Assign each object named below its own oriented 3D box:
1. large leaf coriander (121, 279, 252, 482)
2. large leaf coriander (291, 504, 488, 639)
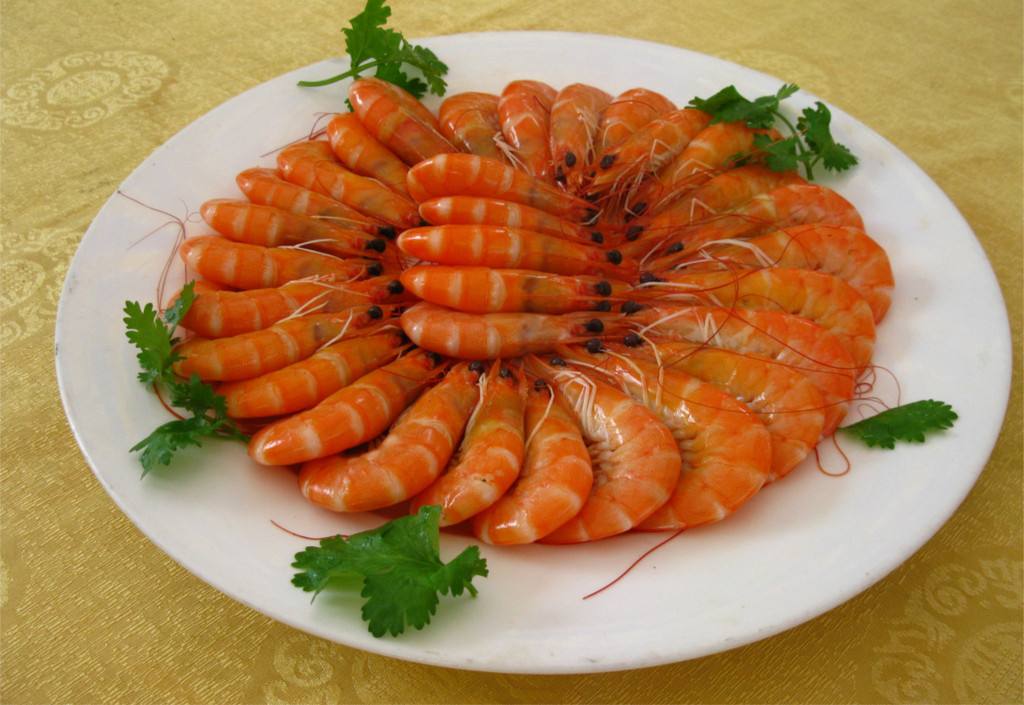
[{"bbox_3d":[-0.875,0.078,2.294,0.430,0.422,0.104,25,-30,-7],"label":"large leaf coriander"},{"bbox_3d":[-0.276,0.494,2.097,0.434,0.507,0.108,-30,115,-47],"label":"large leaf coriander"}]
